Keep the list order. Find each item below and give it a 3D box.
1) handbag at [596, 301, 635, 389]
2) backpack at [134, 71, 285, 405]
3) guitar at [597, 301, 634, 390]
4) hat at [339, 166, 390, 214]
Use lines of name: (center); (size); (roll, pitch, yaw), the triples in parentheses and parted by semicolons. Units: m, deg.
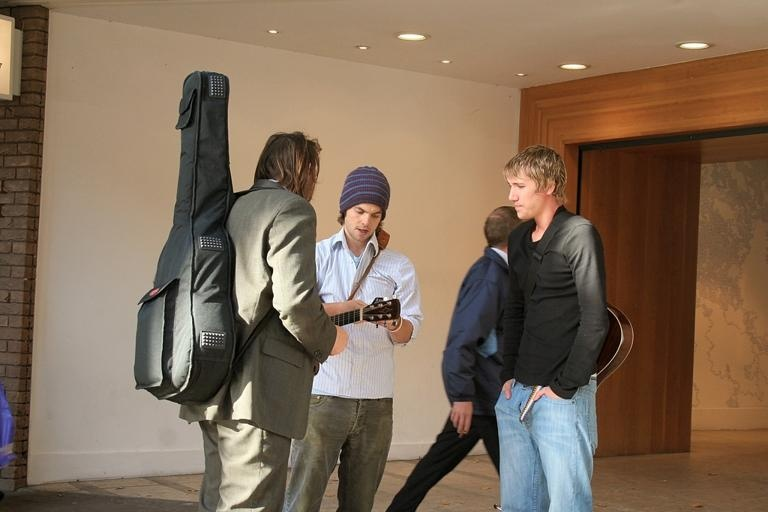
handbag: (1.232, 0.462, 3.651); (0.100, 0.395, 0.259); (1, -10, -19)
backpack: (-0.792, -0.090, 3.198); (0.537, 1.059, 0.250); (4, -3, -18)
guitar: (1.247, 0.456, 3.653); (0.098, 0.390, 0.238); (2, -12, -16)
hat: (-0.089, -0.365, 4.019); (0.226, 0.262, 0.286); (15, 3, -33)
